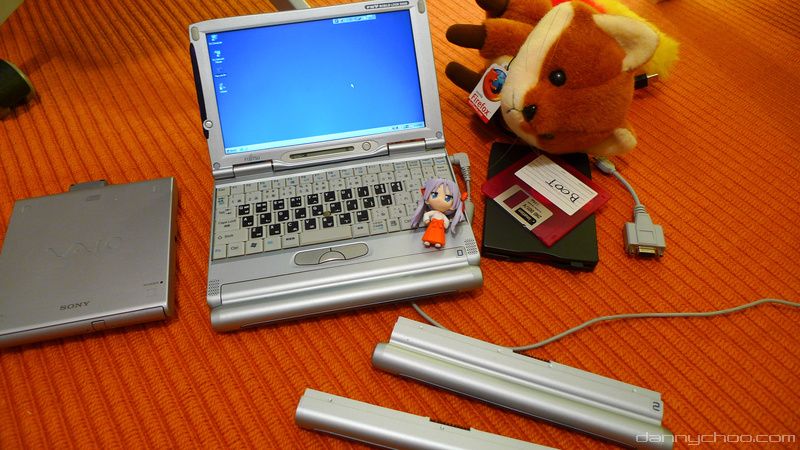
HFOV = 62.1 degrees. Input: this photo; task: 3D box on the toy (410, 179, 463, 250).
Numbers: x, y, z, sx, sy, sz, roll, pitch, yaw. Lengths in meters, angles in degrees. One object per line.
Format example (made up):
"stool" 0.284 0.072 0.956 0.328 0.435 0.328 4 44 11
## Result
"toy" 0.076 -0.016 1.363 0.108 0.059 0.151 10 55 3
